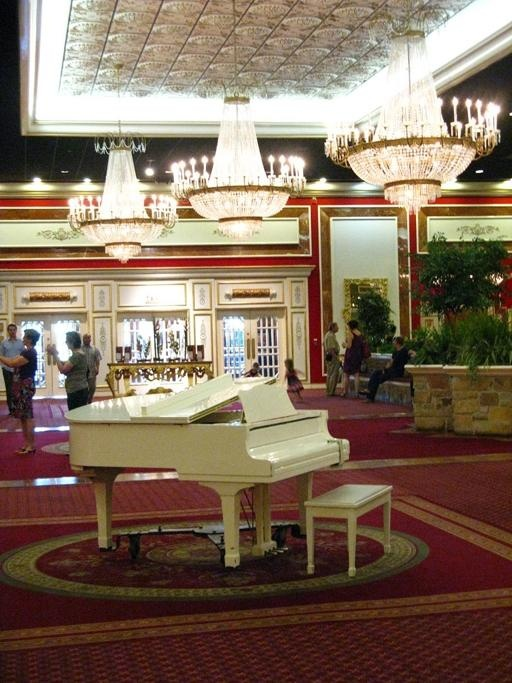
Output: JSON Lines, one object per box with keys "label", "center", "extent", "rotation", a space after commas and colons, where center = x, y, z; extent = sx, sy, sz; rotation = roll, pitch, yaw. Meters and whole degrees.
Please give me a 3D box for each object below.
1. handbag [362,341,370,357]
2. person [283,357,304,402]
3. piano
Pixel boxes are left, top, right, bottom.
{"label": "handbag", "center": [3.116, 0.215, 15.708], "extent": [0.179, 0.544, 0.402], "rotation": [-2, -5, 4]}
{"label": "person", "center": [0.994, 0.974, 14.400], "extent": [0.543, 1.062, 0.445], "rotation": [-21, 3, -5]}
{"label": "piano", "center": [-0.336, 0.618, 3.729], "extent": [1.486, 0.988, 1.414], "rotation": [0, 0, 17]}
